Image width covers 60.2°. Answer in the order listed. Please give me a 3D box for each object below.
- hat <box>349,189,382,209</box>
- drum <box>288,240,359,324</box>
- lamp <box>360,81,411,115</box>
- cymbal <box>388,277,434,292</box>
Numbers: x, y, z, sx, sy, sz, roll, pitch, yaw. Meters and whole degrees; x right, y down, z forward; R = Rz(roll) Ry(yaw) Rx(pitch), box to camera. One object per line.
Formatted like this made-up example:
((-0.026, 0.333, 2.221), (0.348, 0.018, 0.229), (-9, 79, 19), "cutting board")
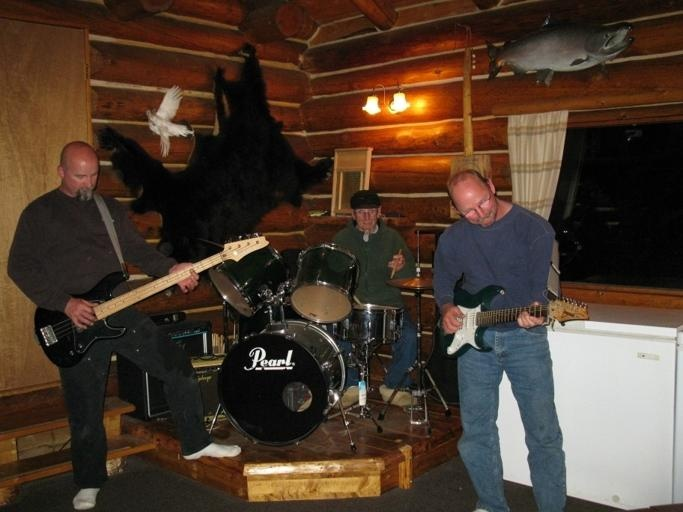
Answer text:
((0.234, -0.546, 5.702), (0.264, 0.181, 0.153), (0, 14, 4), "hat")
((-0.139, 0.253, 4.825), (0.567, 0.695, 0.326), (-1, 14, 1), "drum")
((0.450, -1.748, 6.550), (0.663, 0.330, 0.311), (9, 17, 36), "lamp")
((0.594, 0.245, 5.078), (0.360, 0.081, 0.308), (1, 13, 9), "cymbal")
